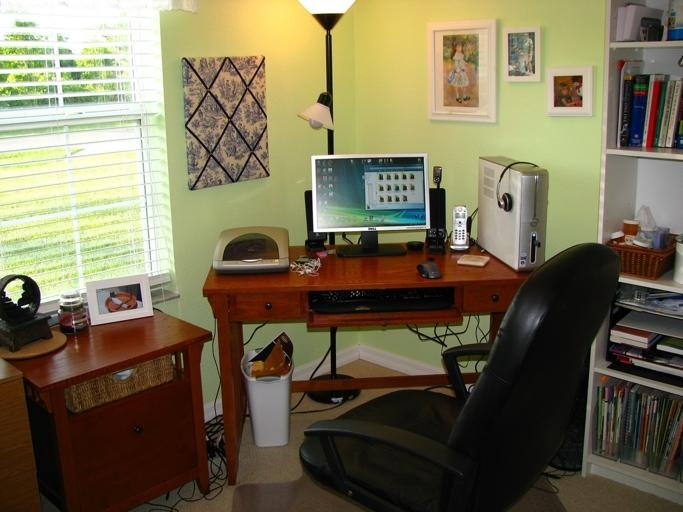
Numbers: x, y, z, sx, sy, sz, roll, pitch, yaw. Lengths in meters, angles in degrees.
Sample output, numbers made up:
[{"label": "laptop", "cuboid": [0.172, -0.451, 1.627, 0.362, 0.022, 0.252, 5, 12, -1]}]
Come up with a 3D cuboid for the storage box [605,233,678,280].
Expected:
[{"label": "storage box", "cuboid": [1.377, 0.016, 2.554, 0.267, 0.156, 0.391, 10, 21, 35]}]

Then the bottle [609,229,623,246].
[{"label": "bottle", "cuboid": [1.300, -0.083, 2.650, 0.057, 0.046, 0.060, -19, 18, 7]}]

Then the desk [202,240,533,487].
[{"label": "desk", "cuboid": [0.191, 0.589, 2.996, 1.571, 1.044, 0.699, 0, 9, -1]}]

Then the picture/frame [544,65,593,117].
[{"label": "picture/frame", "cuboid": [1.146, -0.827, 2.802, 0.239, 0.267, 0.019, 7, 16, 32]}]

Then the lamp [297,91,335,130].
[{"label": "lamp", "cuboid": [-0.105, -0.751, 2.915, 0.144, 0.192, 0.233, 3, 15, 21]}]

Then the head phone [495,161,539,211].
[{"label": "head phone", "cuboid": [0.836, -0.329, 2.647, 0.072, 0.216, 0.213, -5, 7, -43]}]

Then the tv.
[{"label": "tv", "cuboid": [0.151, -0.278, 2.954, 0.500, 0.444, 0.183, -1, 12, 0]}]

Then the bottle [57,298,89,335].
[{"label": "bottle", "cuboid": [-1.222, 0.261, 2.549, 0.118, 0.170, 0.118, 2, 19, -1]}]

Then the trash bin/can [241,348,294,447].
[{"label": "trash bin/can", "cuboid": [-0.391, 0.817, 3.096, 0.246, 0.393, 0.313, -4, 2, -10]}]

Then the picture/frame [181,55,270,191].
[{"label": "picture/frame", "cuboid": [-0.637, -0.724, 2.987, 0.048, 0.770, 0.607, 16, 24, 41]}]

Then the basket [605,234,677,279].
[{"label": "basket", "cuboid": [1.387, 0.004, 2.588, 0.365, 0.152, 0.254, -5, 10, -38]}]
